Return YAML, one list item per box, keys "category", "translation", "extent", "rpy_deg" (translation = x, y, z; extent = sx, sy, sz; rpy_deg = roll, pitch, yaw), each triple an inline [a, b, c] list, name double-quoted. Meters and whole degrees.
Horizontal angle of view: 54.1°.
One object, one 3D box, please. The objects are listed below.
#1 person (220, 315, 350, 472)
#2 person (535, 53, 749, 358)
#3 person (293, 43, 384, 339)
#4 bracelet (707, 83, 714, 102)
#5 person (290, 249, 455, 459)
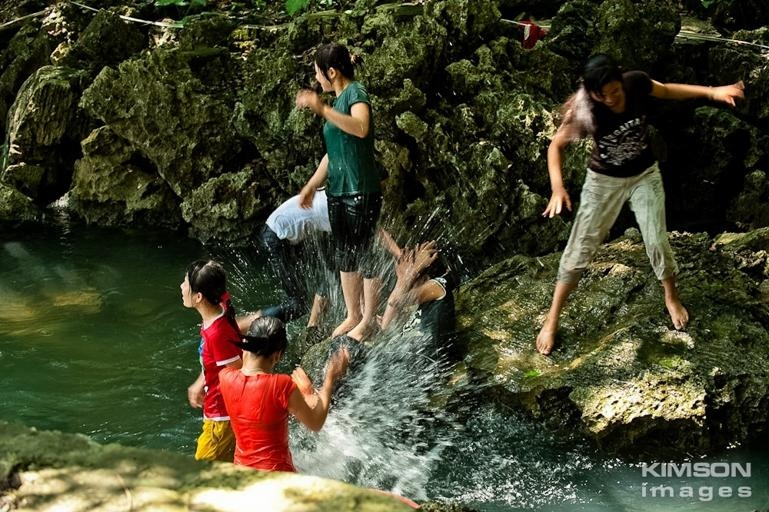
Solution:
- category: "person"
  translation: [-0.785, 1.548, 6.089]
  extent: [1.014, 2.024, 0.747]
  rpy_deg: [1, 19, 0]
- category: "person"
  translation: [2.024, -0.414, 6.581]
  extent: [1.409, 2.627, 0.377]
  rpy_deg: [-3, 19, 4]
- category: "person"
  translation: [-0.449, -0.603, 7.218]
  extent: [0.973, 2.874, 0.999]
  rpy_deg: [-3, 3, -25]
- category: "bracelet"
  translation: [2.745, -1.365, 6.298]
  extent: [0.045, 0.091, 0.155]
  rpy_deg: [4, 21, 23]
- category: "person"
  translation: [-0.013, 0.676, 7.271]
  extent: [1.083, 1.764, 0.631]
  rpy_deg: [39, 3, 27]
